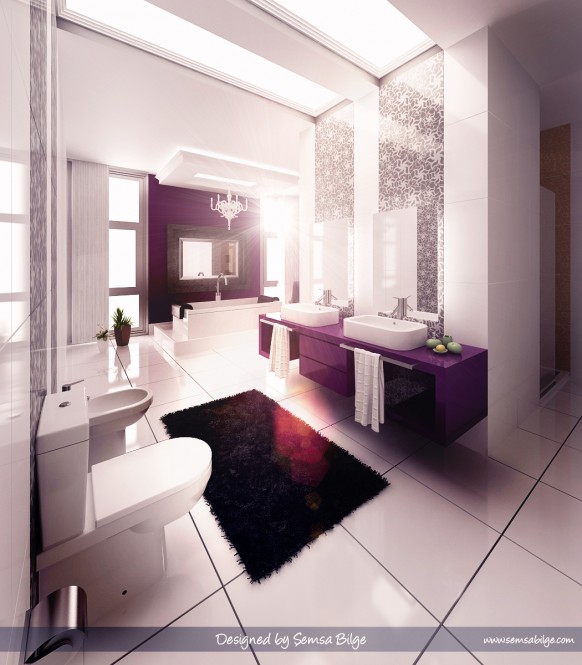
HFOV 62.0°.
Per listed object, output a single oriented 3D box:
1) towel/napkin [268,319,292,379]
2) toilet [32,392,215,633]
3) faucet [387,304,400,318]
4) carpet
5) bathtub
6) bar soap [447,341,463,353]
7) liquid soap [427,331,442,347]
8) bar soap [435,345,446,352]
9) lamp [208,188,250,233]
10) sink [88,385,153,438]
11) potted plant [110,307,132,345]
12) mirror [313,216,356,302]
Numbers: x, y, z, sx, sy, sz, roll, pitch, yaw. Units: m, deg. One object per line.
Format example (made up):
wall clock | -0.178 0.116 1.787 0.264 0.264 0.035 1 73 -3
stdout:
towel/napkin | -0.107 0.150 3.713 0.220 0.350 0.058 13 11 27
toilet | -0.700 0.676 2.095 0.697 0.898 0.453 -10 18 -35
faucet | 0.700 -0.149 3.312 0.061 0.054 0.107 5 11 32
carpet | -0.064 0.788 2.605 0.543 0.020 1.031 -17 19 -29
bathtub | -0.948 -0.216 6.195 0.908 0.330 1.603 9 14 39
bar soap | 0.918 0.081 2.741 0.052 0.043 0.070 -3 7 -4
liquid soap | 0.865 0.046 2.930 0.068 0.077 0.130 -9 0 28
bar soap | 0.850 0.081 2.737 0.040 0.030 0.040 -8 9 -33
lamp | -0.786 -1.632 6.282 0.515 0.725 0.590 0 8 -5
sink | -0.904 0.407 2.606 0.278 0.132 0.217 -10 19 -31
potted plant | -2.075 -0.073 5.960 0.205 0.459 0.437 -4 10 -22
mirror | 0.363 -0.596 3.881 0.072 0.994 0.621 -1 1 -28
